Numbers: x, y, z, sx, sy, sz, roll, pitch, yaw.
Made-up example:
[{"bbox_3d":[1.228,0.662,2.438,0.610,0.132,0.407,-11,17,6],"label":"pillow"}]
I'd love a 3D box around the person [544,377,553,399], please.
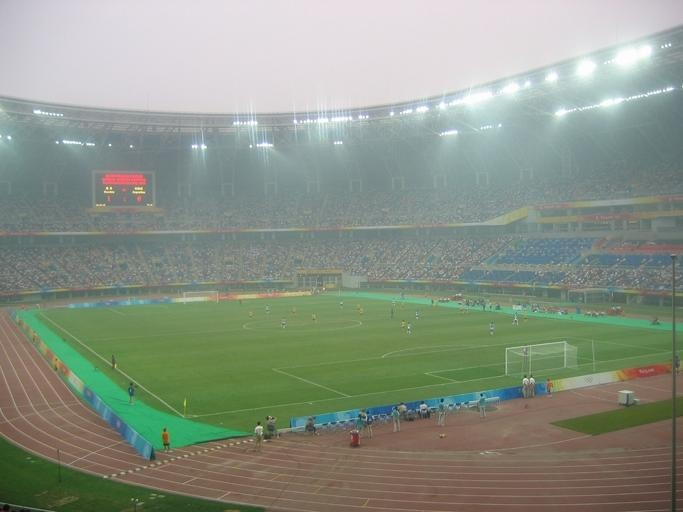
[{"bbox_3d":[15.186,9.578,43.735,0.480,0.951,1.333,0,3,17],"label":"person"}]

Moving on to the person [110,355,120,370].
[{"bbox_3d":[-19.488,9.235,51.572,0.273,0.834,0.692,-7,-27,20],"label":"person"}]

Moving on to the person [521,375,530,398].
[{"bbox_3d":[13.187,9.522,42.951,0.554,1.247,0.595,0,3,15],"label":"person"}]
